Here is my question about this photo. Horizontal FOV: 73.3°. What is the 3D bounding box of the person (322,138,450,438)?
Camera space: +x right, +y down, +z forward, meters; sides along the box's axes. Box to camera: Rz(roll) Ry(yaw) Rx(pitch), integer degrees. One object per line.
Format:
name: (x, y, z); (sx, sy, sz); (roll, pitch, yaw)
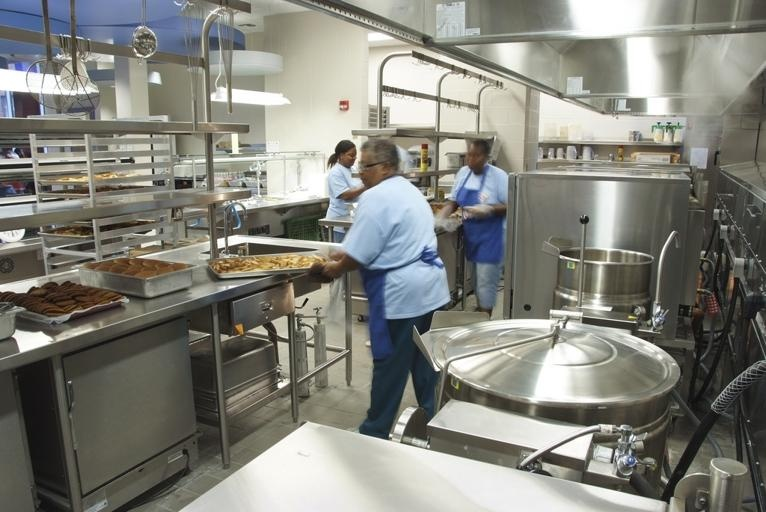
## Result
person: (0.024, 0.199, 2.883); (0.680, 1.659, 0.324); (1, 12, 6)
